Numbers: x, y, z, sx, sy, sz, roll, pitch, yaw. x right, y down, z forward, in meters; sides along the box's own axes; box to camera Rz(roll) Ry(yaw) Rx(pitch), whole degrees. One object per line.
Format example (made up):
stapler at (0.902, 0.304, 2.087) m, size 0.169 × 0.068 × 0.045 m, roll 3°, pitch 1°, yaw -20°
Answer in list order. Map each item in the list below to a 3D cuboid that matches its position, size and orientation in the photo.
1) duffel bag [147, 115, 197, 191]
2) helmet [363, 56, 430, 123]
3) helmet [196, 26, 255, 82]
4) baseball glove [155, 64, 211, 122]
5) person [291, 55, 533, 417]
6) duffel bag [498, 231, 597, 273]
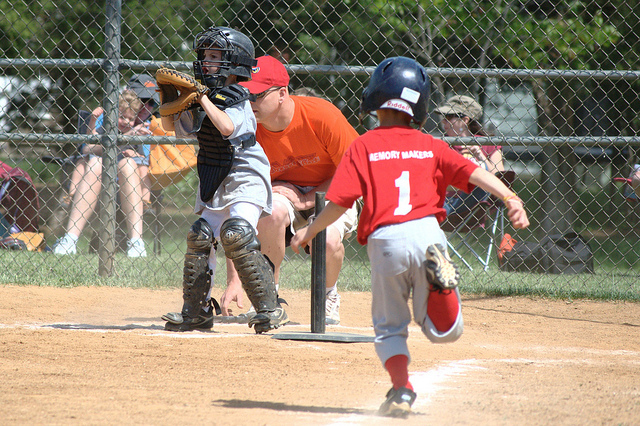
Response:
duffel bag at (-1.857, -0.686, 11.319) m, size 0.839 × 0.885 × 0.710 m, roll -2°, pitch 5°, yaw -4°
helmet at (0.618, -1.010, 7.543) m, size 0.402 × 0.431 × 0.547 m, roll 20°, pitch 16°, yaw -5°
helmet at (-0.864, -1.440, 8.404) m, size 0.487 × 0.470 × 0.399 m, roll 13°, pitch -6°, yaw -21°
baseball glove at (-1.224, -1.040, 8.009) m, size 0.344 × 0.415 × 0.491 m, roll 4°, pitch 3°, yaw 26°
person at (0.663, 0.163, 7.260) m, size 1.402 × 2.754 × 0.510 m, roll 1°, pitch 3°, yaw 10°
duffel bag at (2.606, 0.454, 11.011) m, size 1.219 × 0.540 × 0.744 m, roll 3°, pitch 6°, yaw 25°
